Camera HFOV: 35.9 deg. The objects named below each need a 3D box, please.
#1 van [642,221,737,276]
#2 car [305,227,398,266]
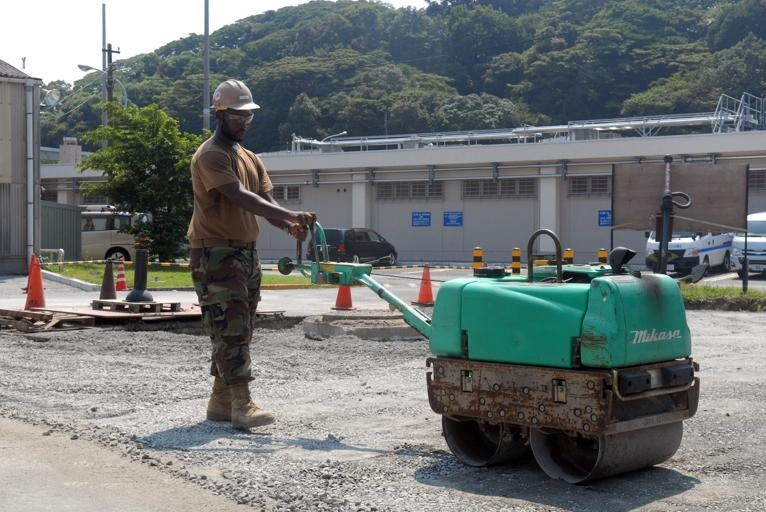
[{"bbox_3d":[9.023,-0.363,35.006,1.698,1.464,3.359,0,3,36],"label":"van"},{"bbox_3d":[-1.010,-0.331,41.381,1.723,1.333,3.758,1,3,32],"label":"car"}]
